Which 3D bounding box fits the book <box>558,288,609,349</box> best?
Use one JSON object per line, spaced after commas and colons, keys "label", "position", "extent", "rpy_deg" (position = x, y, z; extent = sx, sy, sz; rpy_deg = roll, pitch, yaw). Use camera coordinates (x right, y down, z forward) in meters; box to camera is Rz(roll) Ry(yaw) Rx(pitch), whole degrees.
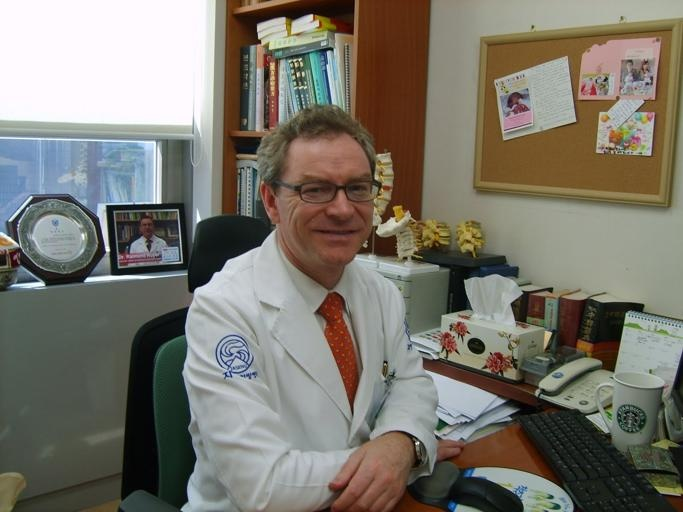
{"label": "book", "position": [0.931, 0.242, 1.990], "extent": [0.188, 0.209, 0.073], "rpy_deg": [-14, 21, -35]}

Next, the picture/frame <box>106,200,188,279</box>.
{"label": "picture/frame", "position": [-1.068, -0.080, 2.705], "extent": [0.373, 0.393, 0.028], "rpy_deg": [-2, -1, -34]}

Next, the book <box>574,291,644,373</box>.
{"label": "book", "position": [1.017, 0.276, 1.936], "extent": [0.208, 0.232, 0.117], "rpy_deg": [1, 16, -16]}

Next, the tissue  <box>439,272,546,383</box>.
{"label": "tissue ", "position": [0.555, 0.257, 1.888], "extent": [0.175, 0.360, 0.326], "rpy_deg": [2, 4, -42]}

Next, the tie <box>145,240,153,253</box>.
{"label": "tie", "position": [-1.054, -0.053, 2.706], "extent": [0.033, 0.055, 0.014], "rpy_deg": [3, -6, -14]}

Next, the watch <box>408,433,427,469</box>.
{"label": "watch", "position": [0.207, 0.523, 1.335], "extent": [0.050, 0.086, 0.071], "rpy_deg": [0, -24, -16]}

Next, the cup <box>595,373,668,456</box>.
{"label": "cup", "position": [0.817, 0.452, 1.454], "extent": [0.164, 0.192, 0.111], "rpy_deg": [5, 1, 44]}
